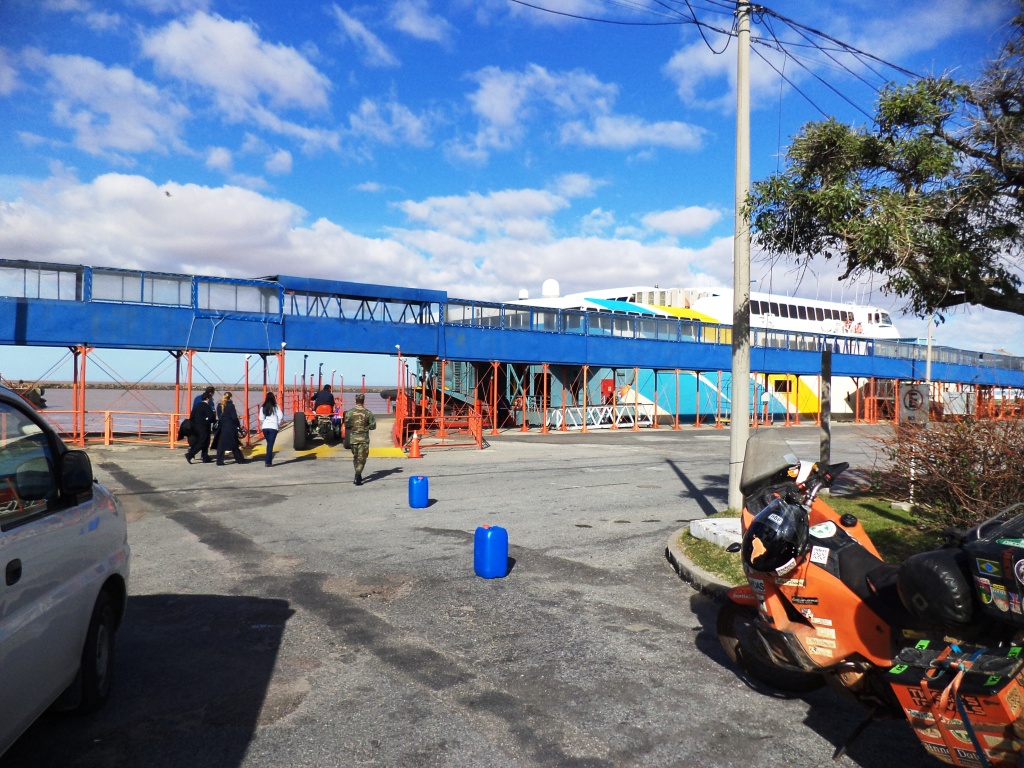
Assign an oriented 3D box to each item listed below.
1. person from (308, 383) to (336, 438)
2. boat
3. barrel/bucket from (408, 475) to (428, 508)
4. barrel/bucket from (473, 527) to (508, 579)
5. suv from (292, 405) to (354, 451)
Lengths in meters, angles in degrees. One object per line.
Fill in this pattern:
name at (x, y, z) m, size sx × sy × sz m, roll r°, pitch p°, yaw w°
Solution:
person at (-5.750, 0.775, 22.536) m, size 0.641 × 1.038 × 1.701 m, roll 0°, pitch 16°, yaw -17°
boat at (13.634, -1.831, 46.123) m, size 40.830 × 8.141 × 7.894 m, roll -5°, pitch 8°, yaw -39°
barrel/bucket at (-1.551, 1.778, 12.234) m, size 0.293 × 0.467 × 0.261 m, roll 0°, pitch 6°, yaw -1°
barrel/bucket at (-0.243, 1.898, 8.303) m, size 0.294 × 0.570 × 0.336 m, roll -14°, pitch -26°, yaw 30°
suv at (-5.644, 1.530, 21.673) m, size 1.440 × 1.141 × 2.392 m, roll 0°, pitch 6°, yaw -12°
